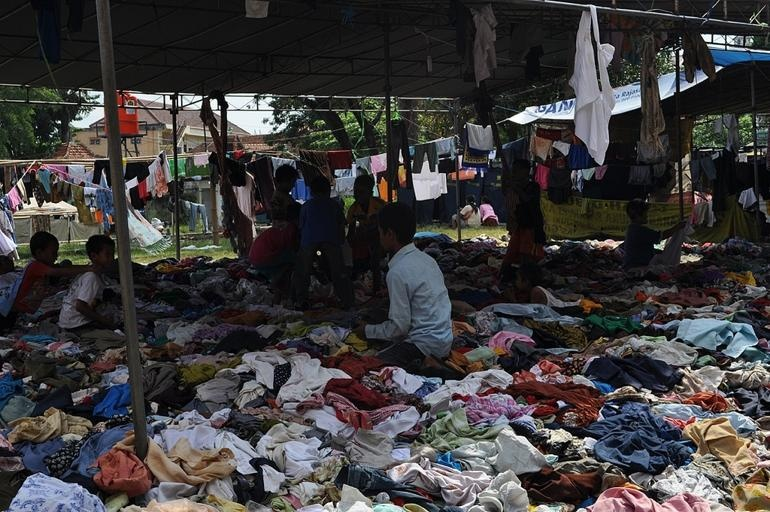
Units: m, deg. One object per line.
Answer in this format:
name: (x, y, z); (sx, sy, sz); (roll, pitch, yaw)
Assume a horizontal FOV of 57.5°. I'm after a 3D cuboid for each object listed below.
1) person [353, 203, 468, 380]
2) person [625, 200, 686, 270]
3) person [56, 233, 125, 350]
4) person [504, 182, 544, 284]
person: (0.288, 0.380, 7.953); (0.860, 1.938, 0.570); (-5, 11, -2)
person: (4.795, -0.454, 12.483); (1.171, 1.315, 0.999); (-5, 7, -1)
person: (-3.924, 0.377, 9.208); (0.787, 1.330, 1.724); (-10, 13, -24)
person: (2.394, -0.633, 11.722); (0.428, 1.591, 0.477); (1, -1, 26)
